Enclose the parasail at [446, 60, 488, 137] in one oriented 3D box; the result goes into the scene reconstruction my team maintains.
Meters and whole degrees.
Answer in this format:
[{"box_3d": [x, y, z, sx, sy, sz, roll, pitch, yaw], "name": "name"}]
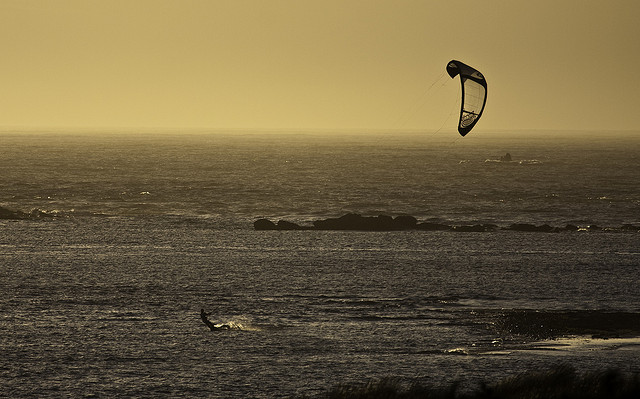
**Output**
[{"box_3d": [14.566, -9.257, 124.421, 2.641, 5.849, 7.042, 17, 4, 9], "name": "parasail"}]
